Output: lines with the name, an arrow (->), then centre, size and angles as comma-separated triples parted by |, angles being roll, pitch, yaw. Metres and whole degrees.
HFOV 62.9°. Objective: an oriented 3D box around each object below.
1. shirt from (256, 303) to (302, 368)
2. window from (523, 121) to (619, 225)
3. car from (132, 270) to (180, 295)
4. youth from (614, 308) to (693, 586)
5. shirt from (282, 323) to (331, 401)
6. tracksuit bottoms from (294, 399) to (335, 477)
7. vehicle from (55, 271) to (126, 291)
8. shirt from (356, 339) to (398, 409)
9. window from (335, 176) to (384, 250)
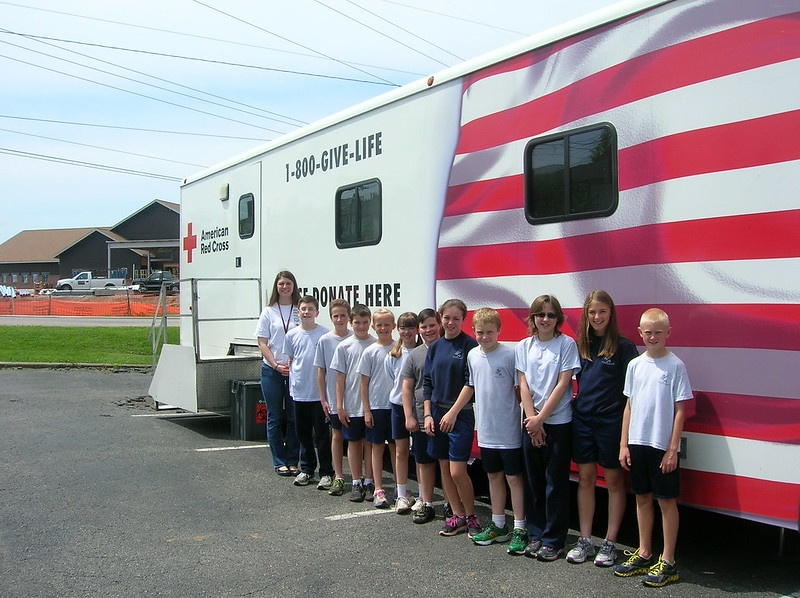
shirt -> -1.258, 0.380, 6.908 | 0.569, 0.676, 0.239 | 1, -11, -15
window -> 1.320, -0.952, 4.937 | 0.744, 0.718, 0.058 | -2, -3, 44
car -> -13.602, -0.906, 36.275 | 2.817, 1.534, 1.814 | 7, 5, 32
youth -> 1.699, 0.979, 4.394 | 0.481, 1.830, 0.257 | 1, 2, 29
shirt -> -0.930, 0.634, 6.542 | 0.606, 0.971, 0.326 | -2, -12, 5
tracksuit bottoms -> -0.880, 1.394, 6.605 | 0.313, 0.829, 0.217 | 0, -37, -14
vehicle -> -22.943, -1.375, 48.955 | 4.236, 1.537, 1.724 | 1, 0, 3
shirt -> -0.197, 0.690, 5.870 | 0.524, 0.815, 0.201 | -1, -5, -3
window -> -0.420, -0.881, 6.764 | 0.030, 0.651, 0.727 | 1, -2, -42
